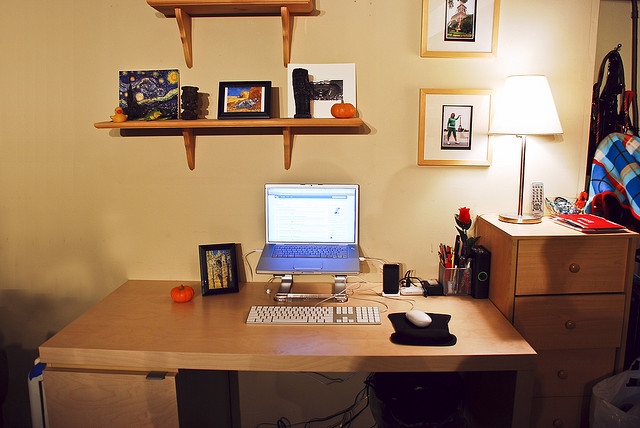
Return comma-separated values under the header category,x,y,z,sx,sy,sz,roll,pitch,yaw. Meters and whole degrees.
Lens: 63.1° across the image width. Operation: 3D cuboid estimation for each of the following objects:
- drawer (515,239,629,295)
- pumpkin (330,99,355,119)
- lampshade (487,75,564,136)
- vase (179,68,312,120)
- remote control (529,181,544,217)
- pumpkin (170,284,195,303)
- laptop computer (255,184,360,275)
category,x,y,z,sx,sy,sz,roll,pitch,yaw
drawer,1.334,0.248,3.029,0.670,0.334,0.408,0,9,-5
pumpkin,0.128,-0.598,2.953,0.098,0.073,0.096,-8,16,-18
lampshade,1.216,-0.594,3.031,0.342,0.282,0.328,-3,6,-35
vase,-0.435,-0.704,3.054,0.764,0.285,0.150,0,11,1
remote control,1.304,-0.103,3.151,0.080,0.193,0.101,4,12,18
pumpkin,-0.800,0.447,3.023,0.099,0.076,0.097,-1,5,-40
laptop computer,-0.051,0.012,3.206,0.792,0.512,0.499,0,22,1
